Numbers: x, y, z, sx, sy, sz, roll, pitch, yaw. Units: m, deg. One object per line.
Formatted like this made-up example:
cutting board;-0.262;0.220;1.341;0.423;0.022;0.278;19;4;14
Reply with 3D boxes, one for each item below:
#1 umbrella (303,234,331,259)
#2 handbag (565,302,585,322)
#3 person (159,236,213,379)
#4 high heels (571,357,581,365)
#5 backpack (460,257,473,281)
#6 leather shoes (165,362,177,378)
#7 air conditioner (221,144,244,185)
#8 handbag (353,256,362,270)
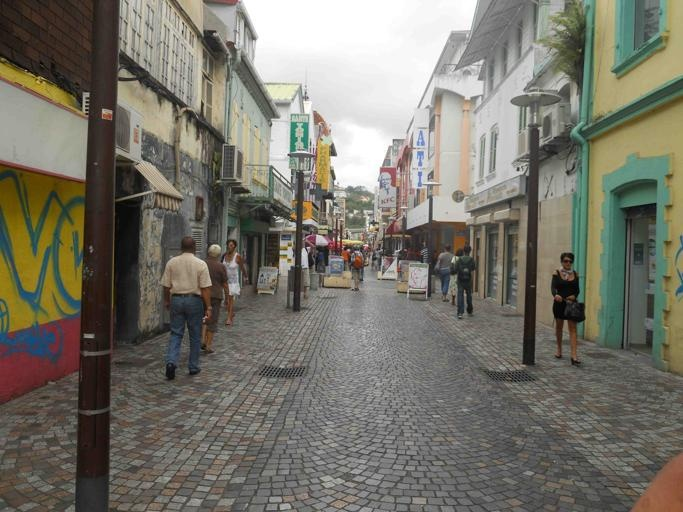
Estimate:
umbrella;-1.085;-0.520;27.043;1.077;1.057;1.177;5;-2;-3
handbag;3.979;0.951;10.029;0.313;0.350;0.168;1;-10;5
person;-2.431;0.771;9.230;0.916;2.104;0.861;-3;8;-36
high heels;4.022;1.794;10.066;0.071;0.098;0.229;2;9;15
backpack;3.337;0.361;15.728;0.428;0.798;0.399;2;-12;3
leather shoes;-2.525;1.699;8.706;0.105;0.120;0.269;2;-30;-7
air conditioner;-3.198;-2.628;17.115;0.388;1.165;1.199;1;0;3
handbag;0.638;0.286;23.377;0.412;0.611;0.283;5;-8;-40
